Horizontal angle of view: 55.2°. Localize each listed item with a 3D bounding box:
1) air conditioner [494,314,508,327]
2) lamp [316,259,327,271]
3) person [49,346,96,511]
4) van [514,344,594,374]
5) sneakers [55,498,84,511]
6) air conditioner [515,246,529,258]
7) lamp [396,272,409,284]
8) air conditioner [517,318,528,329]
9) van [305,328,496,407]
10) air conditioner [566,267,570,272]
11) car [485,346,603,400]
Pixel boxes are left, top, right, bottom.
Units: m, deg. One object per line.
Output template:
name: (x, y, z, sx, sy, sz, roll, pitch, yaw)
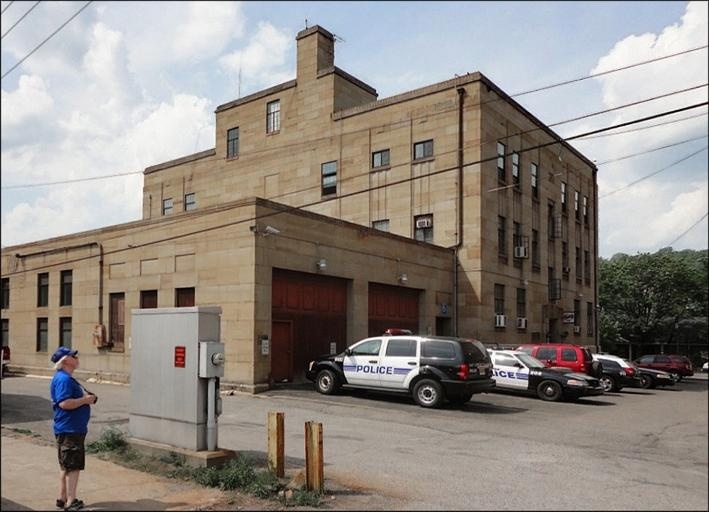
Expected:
air conditioner: (8.010, 3.693, 37.054, 0.549, 0.687, 1.003, -3, -8, 23)
lamp: (-1.353, 0.364, 27.770, 0.438, 0.453, 0.314, 0, -7, -1)
person: (-5.480, 3.306, 13.194, 0.597, 2.885, 1.016, 2, -1, -42)
van: (8.666, 4.388, 28.432, 2.613, 1.349, 1.380, 4, -1, 38)
sneakers: (-5.425, 4.659, 12.869, 0.560, 0.271, 0.212, -3, -6, 17)
air conditioner: (9.766, -0.182, 39.533, 0.566, 0.767, 1.005, -3, -4, 26)
lamp: (2.295, 1.073, 32.241, 0.472, 0.372, 0.542, -3, -6, 21)
air conditioner: (9.876, 3.963, 39.881, 0.556, 0.874, 0.982, -5, -7, 38)
van: (1.809, 3.731, 23.814, 5.253, 2.045, 2.616, -1, -6, 31)
air conditioner: (14.849, 0.971, 47.129, 0.172, 0.384, 0.850, 1, -2, 25)
car: (7.123, 4.454, 25.876, 4.365, 1.408, 1.905, -8, -11, 40)
